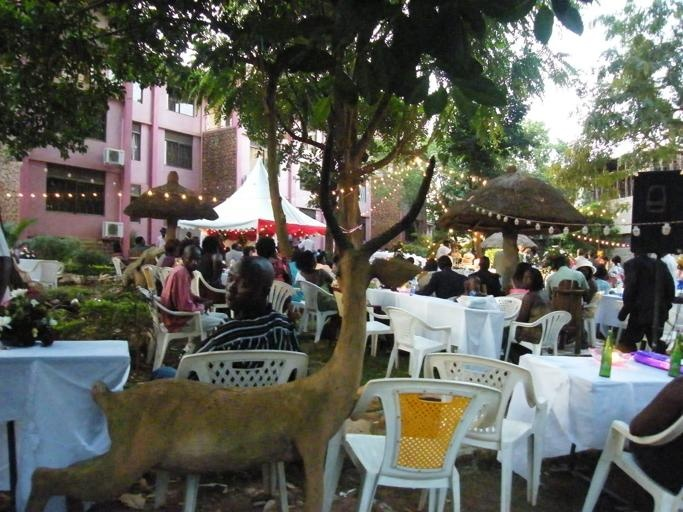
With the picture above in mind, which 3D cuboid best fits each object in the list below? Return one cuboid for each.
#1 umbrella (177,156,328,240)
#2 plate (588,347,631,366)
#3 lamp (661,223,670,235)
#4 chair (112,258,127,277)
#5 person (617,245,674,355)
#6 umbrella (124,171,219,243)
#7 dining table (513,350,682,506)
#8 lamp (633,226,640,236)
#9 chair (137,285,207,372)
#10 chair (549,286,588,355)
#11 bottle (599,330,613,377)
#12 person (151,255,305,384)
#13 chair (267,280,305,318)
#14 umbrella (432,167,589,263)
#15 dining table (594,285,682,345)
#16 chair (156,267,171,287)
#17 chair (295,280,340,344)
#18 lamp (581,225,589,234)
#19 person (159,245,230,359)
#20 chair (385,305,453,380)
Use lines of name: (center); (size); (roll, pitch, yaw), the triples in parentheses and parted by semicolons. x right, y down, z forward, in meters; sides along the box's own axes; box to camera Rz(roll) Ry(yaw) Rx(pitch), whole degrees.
umbrella: (-2.121, -1.460, 15.352); (3.858, 1.672, 3.991); (3, 2, -2)
plate: (2.216, 0.830, 4.711); (0.221, 0.081, 0.231); (3, -8, 40)
lamp: (3.333, -0.266, 5.832); (0.084, 0.139, 0.099); (-3, 6, -31)
chair: (-5.109, 0.269, 13.100); (0.284, 0.402, 0.960); (-3, -10, -21)
person: (3.761, 0.590, 7.039); (0.585, 1.239, 1.253); (3, -1, 31)
umbrella: (-3.359, -0.990, 11.241); (1.855, 1.484, 1.943); (11, 11, 36)
dining table: (1.931, 1.213, 4.465); (0.910, 0.756, 0.930); (1, -1, -28)
lamp: (3.156, -0.256, 6.113); (0.073, 0.103, 0.092); (-4, 5, -20)
chair: (-1.928, 0.832, 6.676); (0.867, 1.277, 0.780); (-1, 3, -21)
chair: (3.225, 0.873, 8.201); (0.544, 1.036, 0.627); (3, 5, 32)
bottle: (2.030, 0.745, 4.339); (0.084, 0.350, 0.085); (8, -3, 0)
person: (-0.745, 0.441, 3.900); (0.822, 0.929, 0.562); (-4, 25, -18)
chair: (-0.708, 0.553, 8.122); (0.254, 0.289, 0.343); (21, -39, -18)
umbrella: (2.908, -0.741, 9.918); (1.937, 1.588, 3.032); (3, -1, -5)
dining table: (4.594, 0.940, 9.045); (0.904, 0.496, 0.937); (1, -2, -21)
chair: (-2.459, 0.302, 7.850); (0.174, 0.256, 0.183); (6, 30, 14)
chair: (-0.322, 0.882, 8.969); (0.662, 0.842, 0.691); (7, -7, -38)
lamp: (3.679, -0.383, 8.596); (0.120, 0.195, 0.132); (0, 2, 18)
person: (-1.667, 0.572, 6.483); (0.693, 1.366, 0.542); (-2, 12, -19)
chair: (0.964, 1.070, 7.070); (0.807, 1.075, 0.849); (5, 14, 15)
